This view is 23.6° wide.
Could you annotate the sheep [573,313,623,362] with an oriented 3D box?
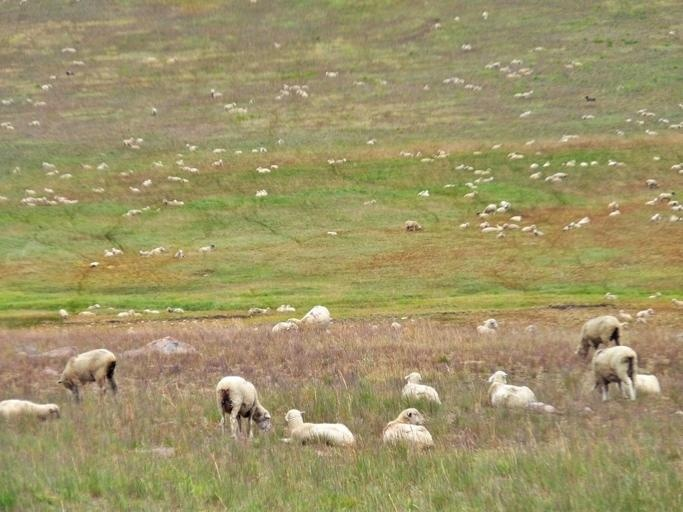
[{"bbox_3d":[27.419,8.550,175.541,3.697,4.783,3.600,-7,9,-8],"label":"sheep"}]
